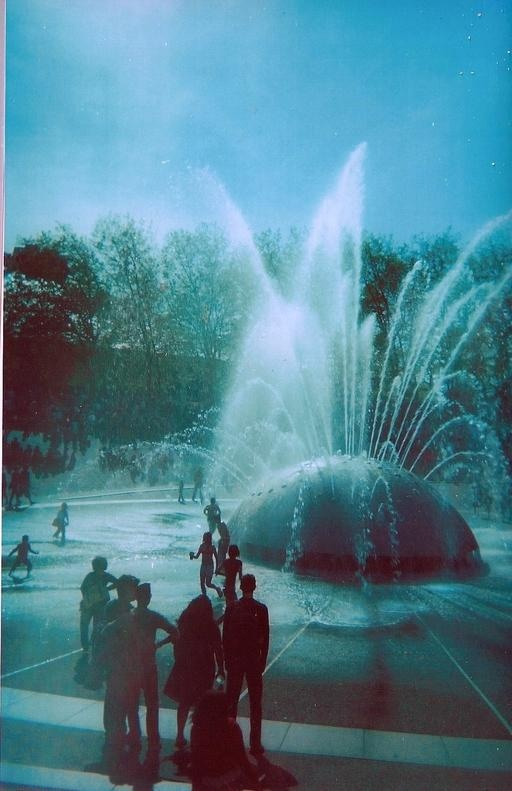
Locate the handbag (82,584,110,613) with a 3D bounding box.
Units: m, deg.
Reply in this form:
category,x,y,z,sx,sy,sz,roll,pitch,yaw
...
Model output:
category,x,y,z,sx,sy,sz,roll,pitch,yaw
handbag,-1.517,1.888,6.834,0.234,0.233,0.232,-5,-12,11
